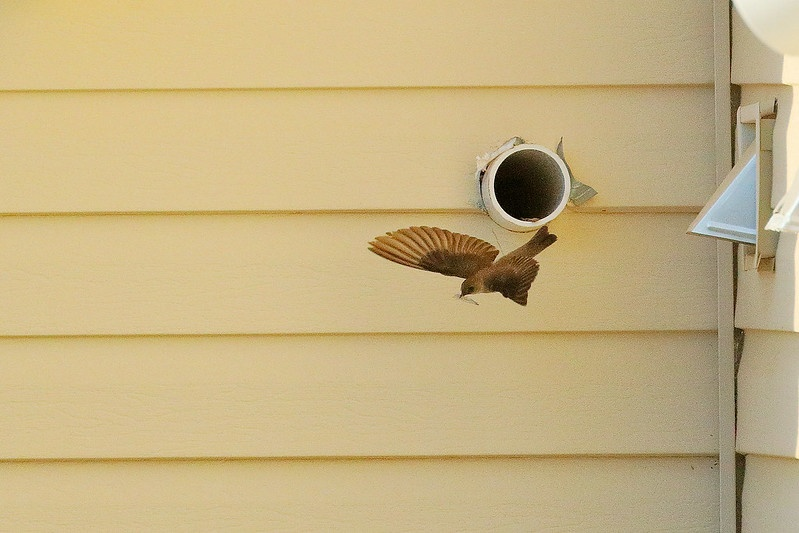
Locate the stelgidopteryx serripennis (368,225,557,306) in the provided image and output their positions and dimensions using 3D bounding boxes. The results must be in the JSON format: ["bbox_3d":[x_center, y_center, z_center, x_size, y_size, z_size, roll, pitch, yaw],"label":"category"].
[{"bbox_3d":[0.114,-0.022,2.896,0.324,0.029,0.150,12,-82,-2],"label":"stelgidopteryx serripennis"}]
